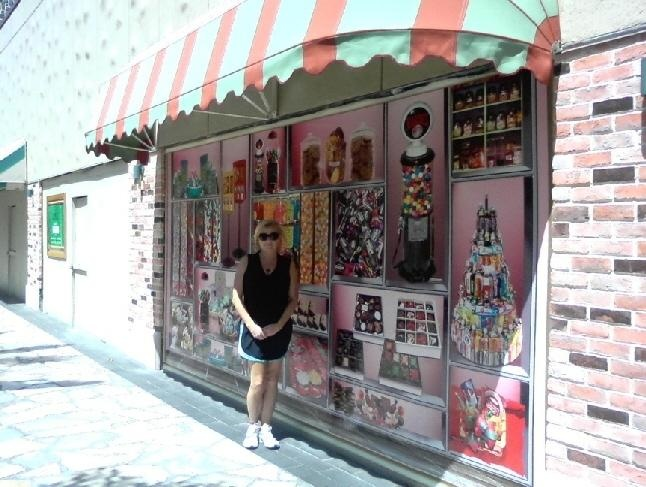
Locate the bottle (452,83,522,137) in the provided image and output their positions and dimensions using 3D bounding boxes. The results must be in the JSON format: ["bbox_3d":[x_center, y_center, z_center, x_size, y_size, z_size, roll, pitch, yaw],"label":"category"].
[{"bbox_3d":[1.414,-1.179,4.336,0.021,0.457,0.657,-2,3,-44],"label":"bottle"}]

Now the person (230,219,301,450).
[{"bbox_3d":[-0.628,0.922,5.525,0.690,2.302,0.882,0,0,-22],"label":"person"}]
